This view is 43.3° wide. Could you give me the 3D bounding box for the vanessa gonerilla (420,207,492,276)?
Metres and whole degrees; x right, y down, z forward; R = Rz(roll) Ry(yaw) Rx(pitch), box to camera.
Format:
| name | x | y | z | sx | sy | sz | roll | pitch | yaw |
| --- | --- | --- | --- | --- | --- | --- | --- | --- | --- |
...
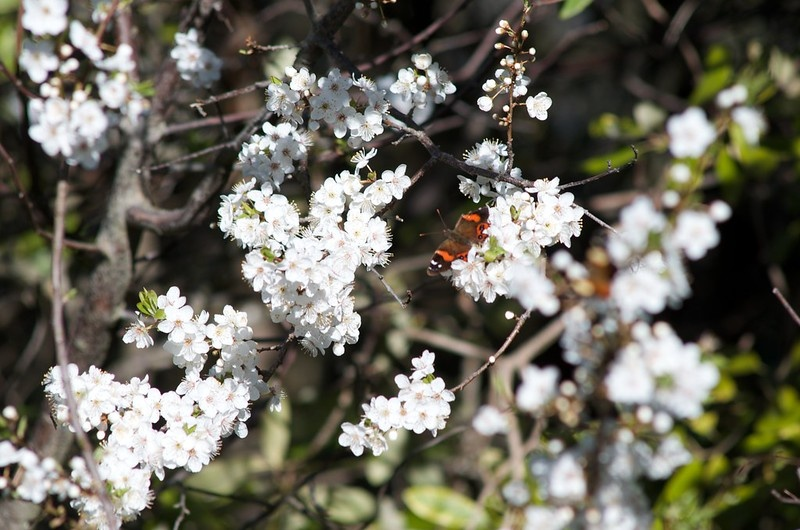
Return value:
| name | x | y | z | sx | sy | sz | roll | pitch | yaw |
| --- | --- | --- | --- | --- | --- | --- | --- | --- | --- |
| vanessa gonerilla | 0.253 | -0.121 | 4.236 | 0.217 | 0.375 | 0.101 | 5 | 51 | -21 |
